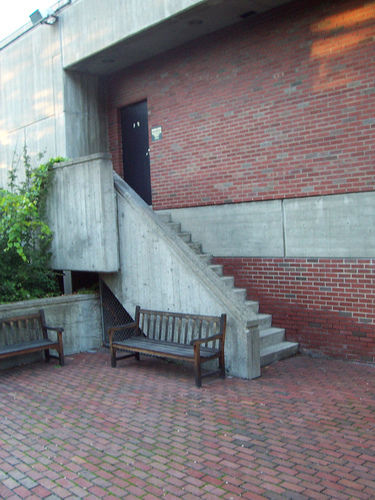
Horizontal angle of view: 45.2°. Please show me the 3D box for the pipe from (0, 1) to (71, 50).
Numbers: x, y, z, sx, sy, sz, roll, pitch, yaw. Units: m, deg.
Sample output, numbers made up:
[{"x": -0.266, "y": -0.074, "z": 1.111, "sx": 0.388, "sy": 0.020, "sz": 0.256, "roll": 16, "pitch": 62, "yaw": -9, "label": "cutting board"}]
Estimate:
[{"x": -3.351, "y": -4.659, "z": 9.573, "sx": 0.234, "sy": 0.299, "sz": 3.159, "roll": -2, "pitch": 0, "yaw": -43, "label": "pipe"}]

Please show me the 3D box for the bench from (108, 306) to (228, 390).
[{"x": -0.320, "y": 1.199, "z": 5.696, "sx": 1.559, "sy": 0.872, "sz": 0.585, "roll": -1, "pitch": -1, "yaw": 41, "label": "bench"}]

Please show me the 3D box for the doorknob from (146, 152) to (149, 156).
[{"x": -0.822, "y": -1.955, "z": 9.176, "sx": 0.044, "sy": 0.096, "sz": 0.088, "roll": -4, "pitch": 8, "yaw": -39, "label": "doorknob"}]
